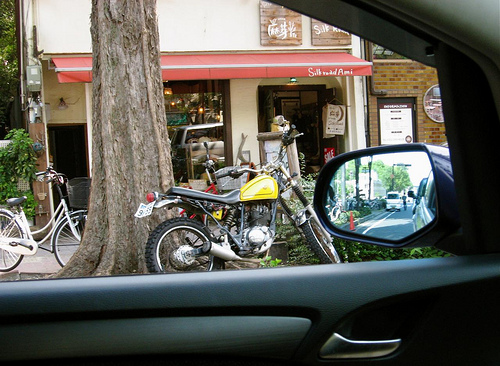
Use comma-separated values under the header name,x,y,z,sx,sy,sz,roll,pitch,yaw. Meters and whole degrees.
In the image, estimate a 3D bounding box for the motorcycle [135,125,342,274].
name,x,y,z,sx,sy,sz,roll,pitch,yaw
motorcycle,-0.194,0.157,4.521,2.007,1.514,0.717,-3,0,-19

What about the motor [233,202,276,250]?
name,x,y,z,sx,sy,sz,roll,pitch,yaw
motor,-0.072,0.436,4.516,0.572,0.359,0.310,1,-8,-23
